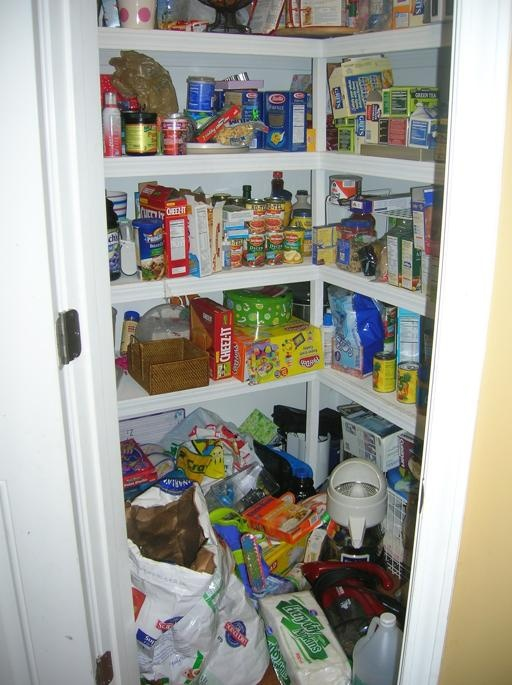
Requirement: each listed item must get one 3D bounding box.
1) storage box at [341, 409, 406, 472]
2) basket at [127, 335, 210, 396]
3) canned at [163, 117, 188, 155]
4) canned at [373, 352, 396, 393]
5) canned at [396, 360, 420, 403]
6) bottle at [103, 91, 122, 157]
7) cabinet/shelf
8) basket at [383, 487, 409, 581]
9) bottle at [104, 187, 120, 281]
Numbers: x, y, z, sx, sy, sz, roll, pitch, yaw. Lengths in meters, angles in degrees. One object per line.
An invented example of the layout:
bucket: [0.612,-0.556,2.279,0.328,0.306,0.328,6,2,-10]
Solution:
storage box: [0.420,0.346,1.930,0.116,0.143,0.205,-19,24,-31]
basket: [-0.268,0.079,1.687,0.202,0.126,0.197,-9,27,-24]
canned: [-0.226,-0.560,1.465,0.088,0.094,0.087,-6,27,-19]
canned: [0.392,0.094,1.647,0.067,0.117,0.046,1,18,12]
canned: [0.448,0.119,1.566,0.048,0.115,0.088,-15,21,-34]
bottle: [-0.384,-0.576,1.436,0.051,0.163,0.140,-6,18,-8]
cabinet/shelf: [0.092,-0.148,1.814,0.947,1.591,0.862,2,18,14]
basket: [0.446,0.611,1.733,0.031,0.318,0.115,-10,19,-23]
bottle: [-0.409,-0.293,1.536,0.040,0.232,0.151,-6,18,-11]
